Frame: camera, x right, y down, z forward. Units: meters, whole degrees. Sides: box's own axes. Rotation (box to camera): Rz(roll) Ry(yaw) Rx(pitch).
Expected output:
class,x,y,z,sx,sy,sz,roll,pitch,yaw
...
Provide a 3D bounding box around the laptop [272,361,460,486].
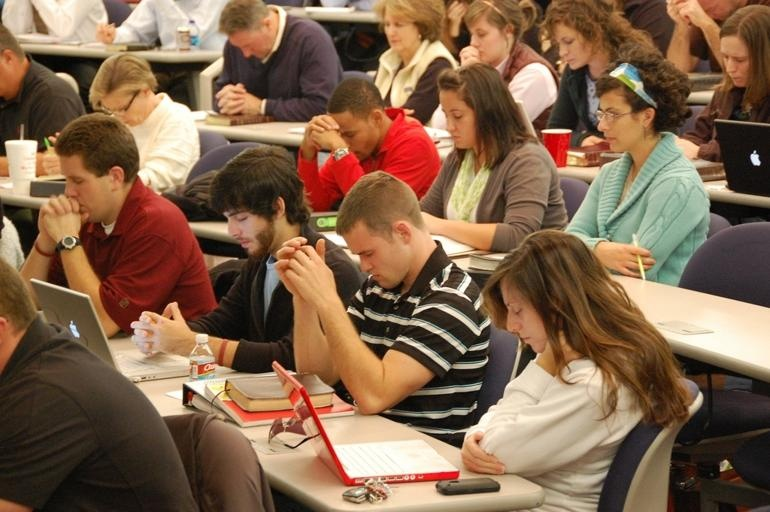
class,x,y,z,sx,sy,sz,roll,pitch,yaw
laptop,-0.047,0.481,1.788,0.342,0.212,0.347,-1,3,-14

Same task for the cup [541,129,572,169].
class,x,y,z,sx,sy,sz,roll,pitch,yaw
cup,1.210,-0.759,4.574,0.193,0.282,0.261,9,8,17

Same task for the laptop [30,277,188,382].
class,x,y,z,sx,sy,sz,roll,pitch,yaw
laptop,-1.016,0.191,2.340,0.424,0.287,0.452,-4,10,-38

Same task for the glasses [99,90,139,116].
class,x,y,z,sx,sy,sz,roll,pitch,yaw
glasses,-1.866,-1.051,4.517,0.233,0.237,0.071,10,-4,23

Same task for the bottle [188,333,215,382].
class,x,y,z,sx,sy,sz,roll,pitch,yaw
bottle,-0.666,0.356,2.365,0.098,0.154,0.177,4,8,-16

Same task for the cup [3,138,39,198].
class,x,y,z,sx,sy,sz,roll,pitch,yaw
cup,-2.438,-0.590,4.304,0.172,0.345,0.304,2,9,-30
